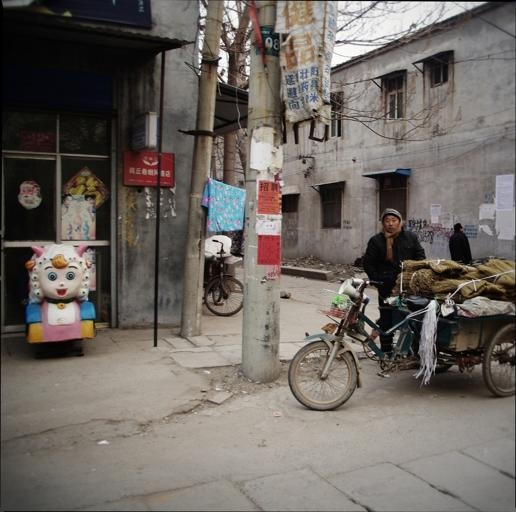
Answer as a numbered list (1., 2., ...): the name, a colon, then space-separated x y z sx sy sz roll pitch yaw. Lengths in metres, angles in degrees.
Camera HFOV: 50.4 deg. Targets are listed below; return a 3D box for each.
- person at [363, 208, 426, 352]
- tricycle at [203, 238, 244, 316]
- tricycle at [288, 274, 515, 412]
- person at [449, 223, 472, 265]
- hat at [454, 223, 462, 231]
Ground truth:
1. person: 1.588 0.308 6.297 0.635 1.701 0.560 -6 18 1
2. tricycle: -0.634 0.327 9.861 0.704 1.377 1.138 0 4 -4
3. tricycle: 1.370 0.822 5.227 1.779 0.951 1.162 2 -3 -14
4. person: 4.597 -0.304 12.354 0.470 0.860 1.612 2 4 20
5. hat: 4.606 -0.686 12.455 0.133 0.197 0.186 0 -18 -11
